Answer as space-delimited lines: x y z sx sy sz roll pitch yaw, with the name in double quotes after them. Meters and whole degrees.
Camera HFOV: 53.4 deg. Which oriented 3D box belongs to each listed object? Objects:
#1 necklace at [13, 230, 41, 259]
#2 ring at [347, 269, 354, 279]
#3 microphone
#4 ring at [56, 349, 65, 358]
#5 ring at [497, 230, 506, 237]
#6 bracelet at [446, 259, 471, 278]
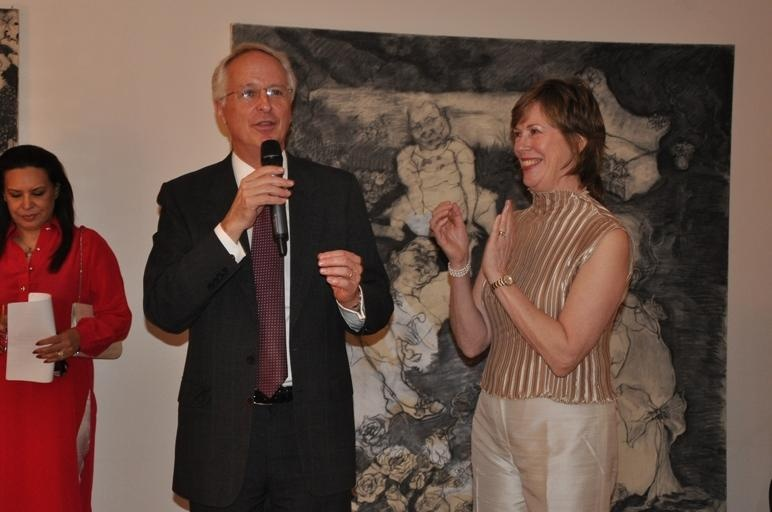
-2.401 -0.071 5.112 0.147 0.192 0.072 -2 -6 -10 "necklace"
-0.186 0.093 4.086 0.035 0.033 0.010 1 -4 -36 "ring"
-0.579 -0.316 4.209 0.159 0.627 0.151 -7 -6 -5 "microphone"
-2.077 0.616 4.881 0.026 0.042 0.040 28 -29 -32 "ring"
0.674 -0.136 4.456 0.037 0.032 0.012 0 7 -3 "ring"
0.451 0.072 4.687 0.132 0.075 0.162 -1 3 5 "bracelet"
